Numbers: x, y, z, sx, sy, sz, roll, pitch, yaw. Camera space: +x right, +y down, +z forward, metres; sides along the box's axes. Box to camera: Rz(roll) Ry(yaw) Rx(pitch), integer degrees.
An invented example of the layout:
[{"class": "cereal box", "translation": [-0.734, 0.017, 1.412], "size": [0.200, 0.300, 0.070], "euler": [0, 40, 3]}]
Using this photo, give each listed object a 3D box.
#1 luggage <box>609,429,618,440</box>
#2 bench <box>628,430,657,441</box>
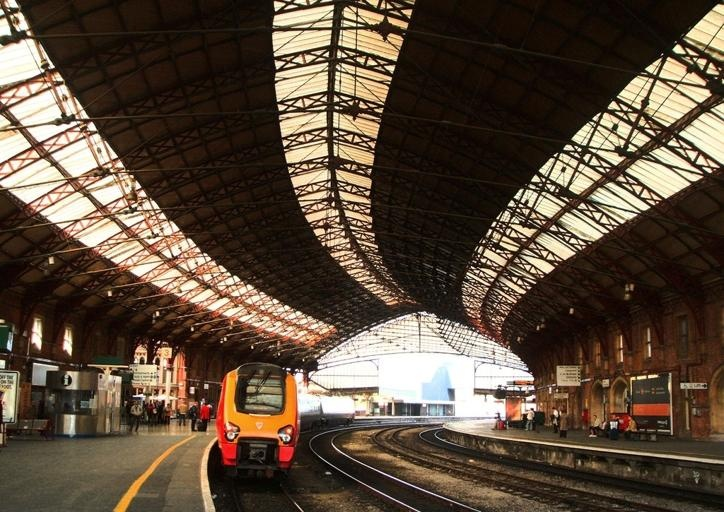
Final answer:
[{"class": "luggage", "translation": [15.540, 11.060, 35.543], "size": [0.546, 0.624, 1.225], "euler": [-7, -19, 18]}, {"class": "bench", "translation": [17.342, 11.144, 35.623], "size": [1.640, 0.295, 1.444], "euler": [-11, -18, 43]}]
